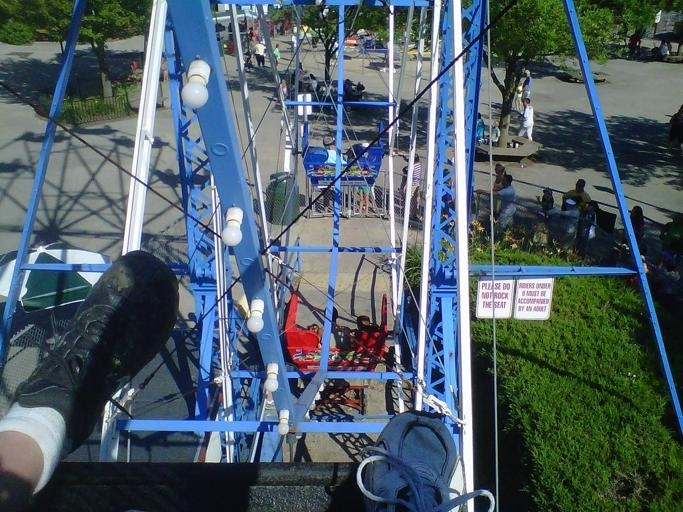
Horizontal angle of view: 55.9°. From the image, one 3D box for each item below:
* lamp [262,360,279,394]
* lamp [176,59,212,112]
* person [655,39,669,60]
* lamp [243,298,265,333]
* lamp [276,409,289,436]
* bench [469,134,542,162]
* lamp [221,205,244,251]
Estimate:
[{"bbox_3d":[-0.906,1.646,8.485,0.166,0.441,0.267,0,16,-5],"label":"lamp"},{"bbox_3d":[-1.545,-1.856,6.919,0.278,0.494,0.412,-1,16,-10],"label":"lamp"},{"bbox_3d":[20.974,-13.454,42.072,0.964,1.145,0.848,14,20,34],"label":"person"},{"bbox_3d":[-1.056,0.783,8.008,0.216,0.520,0.371,-1,16,-9],"label":"lamp"},{"bbox_3d":[-0.771,2.197,8.619,0.132,0.251,0.259,2,16,-1],"label":"lamp"},{"bbox_3d":[6.369,-3.996,24.561,2.695,0.773,1.946,-4,19,-21],"label":"bench"},{"bbox_3d":[-1.228,-0.388,7.431,0.187,0.188,0.424,32,36,-19],"label":"lamp"}]
